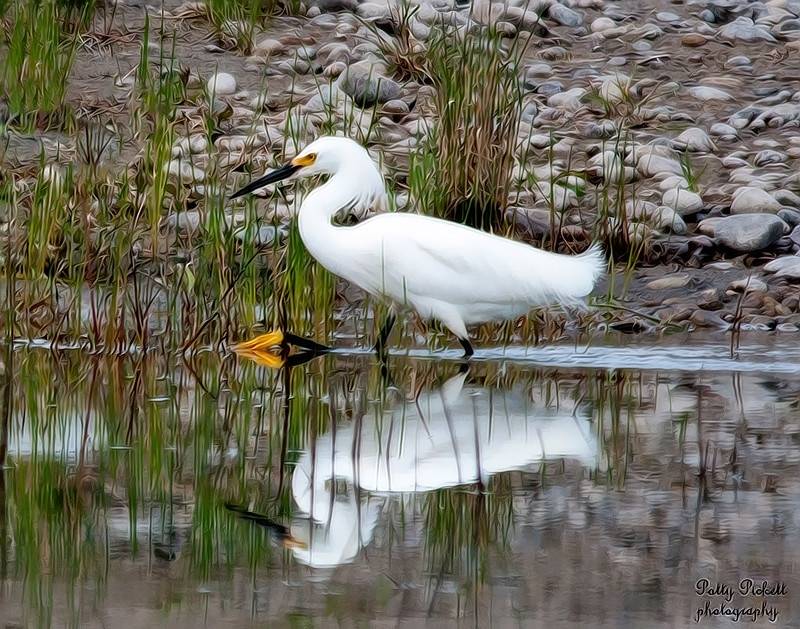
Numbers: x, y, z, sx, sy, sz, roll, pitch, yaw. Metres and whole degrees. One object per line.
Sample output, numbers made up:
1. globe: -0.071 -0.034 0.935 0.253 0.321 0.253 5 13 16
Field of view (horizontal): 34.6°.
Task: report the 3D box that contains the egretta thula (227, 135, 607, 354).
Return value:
1. egretta thula: 0.197 -0.278 6.594 1.671 1.375 0.528 -7 0 -10
